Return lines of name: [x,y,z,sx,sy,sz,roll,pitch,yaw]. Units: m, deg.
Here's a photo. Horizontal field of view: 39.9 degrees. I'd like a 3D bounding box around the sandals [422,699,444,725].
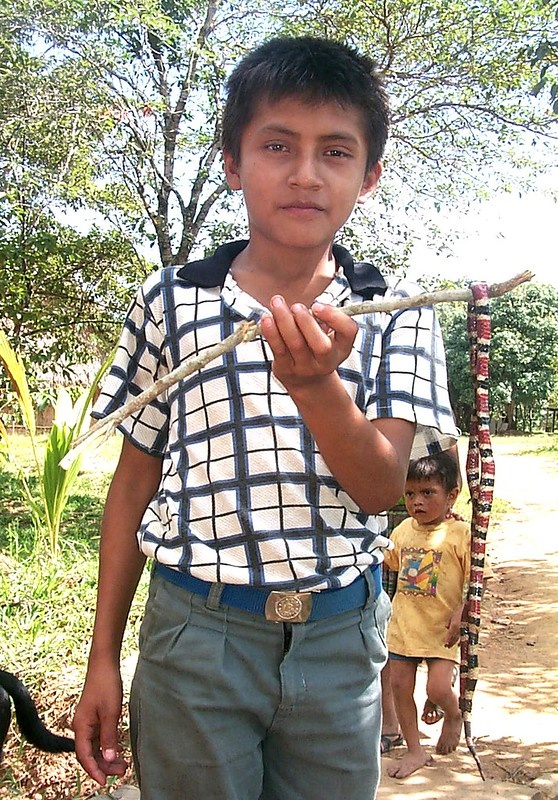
sandals: [0.844,1.707,4.198,0.102,0.061,0.250,-1,-7,3]
